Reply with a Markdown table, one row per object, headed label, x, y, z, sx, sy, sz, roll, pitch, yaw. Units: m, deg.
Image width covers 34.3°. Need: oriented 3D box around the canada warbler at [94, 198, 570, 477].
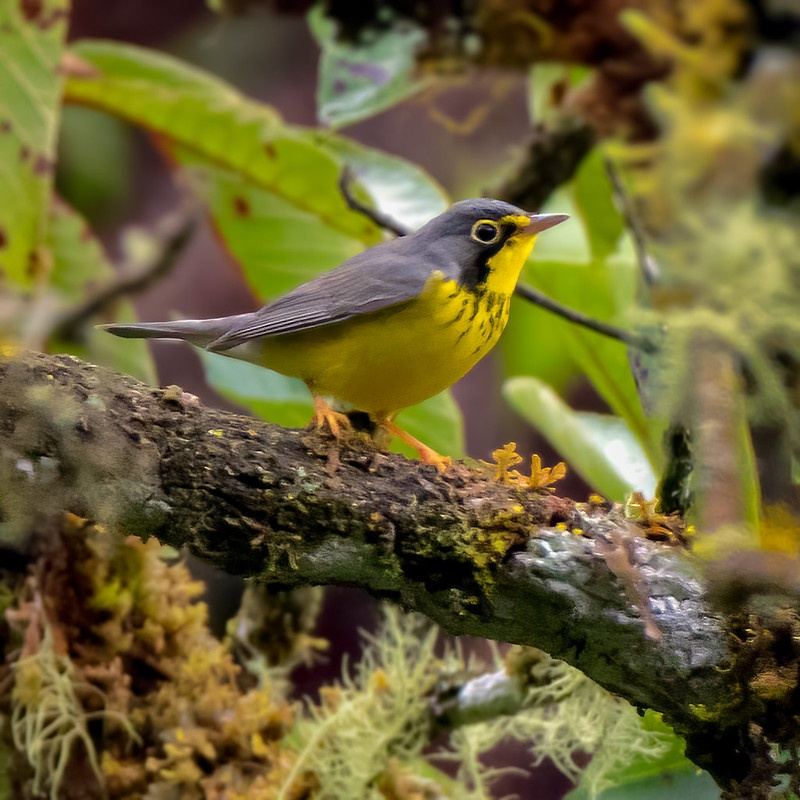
| label | x | y | z | sx | sy | sz | roll | pitch | yaw |
| --- | --- | --- | --- | --- | --- | --- | --- | --- | --- |
| canada warbler | -0.045 | -0.112 | 2.720 | 0.878 | 0.507 | 0.491 | -8 | 44 | -13 |
